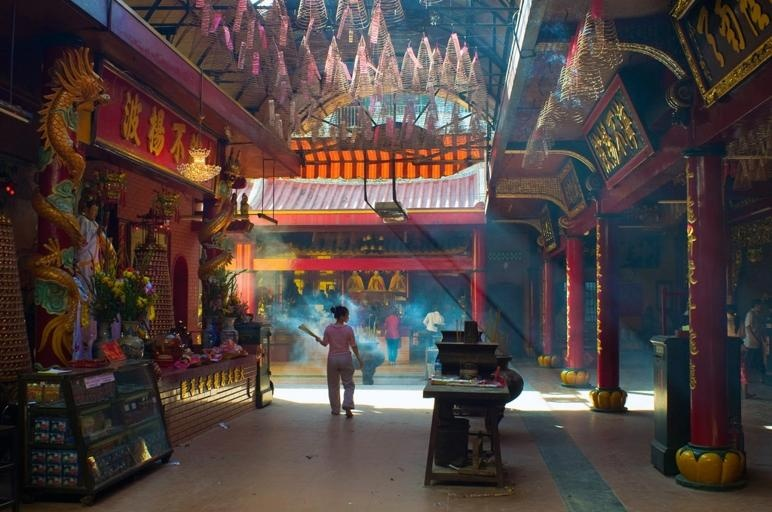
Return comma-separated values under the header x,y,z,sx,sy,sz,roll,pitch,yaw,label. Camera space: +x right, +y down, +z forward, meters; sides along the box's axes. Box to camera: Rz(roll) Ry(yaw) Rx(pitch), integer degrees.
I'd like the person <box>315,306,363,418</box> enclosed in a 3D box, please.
x,y,z,sx,sy,sz,roll,pitch,yaw,label
-0.674,1.521,9.408,0.563,1.579,1.511,1,-1,-2,person

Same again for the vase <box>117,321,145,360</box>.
x,y,z,sx,sy,sz,roll,pitch,yaw,label
-2.776,0.919,6.928,0.229,0.418,0.276,1,0,-24,vase

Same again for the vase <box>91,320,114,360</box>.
x,y,z,sx,sy,sz,roll,pitch,yaw,label
-2.930,0.858,6.548,0.189,0.389,0.407,1,-1,-23,vase

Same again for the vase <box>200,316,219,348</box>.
x,y,z,sx,sy,sz,roll,pitch,yaw,label
-2.589,1.116,9.354,0.238,0.448,0.186,1,0,-7,vase

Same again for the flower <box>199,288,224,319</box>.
x,y,z,sx,sy,sz,roll,pitch,yaw,label
-2.580,0.710,9.440,0.280,0.514,0.287,-5,-26,8,flower

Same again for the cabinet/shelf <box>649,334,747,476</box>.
x,y,z,sx,sy,sz,roll,pitch,yaw,label
3.265,1.544,6.691,0.849,1.490,0.681,1,0,22,cabinet/shelf

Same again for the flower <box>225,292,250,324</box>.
x,y,z,sx,sy,sz,roll,pitch,yaw,label
-2.238,0.824,9.714,0.271,0.388,0.366,-9,14,-8,flower

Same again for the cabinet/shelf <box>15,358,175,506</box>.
x,y,z,sx,sy,sz,roll,pitch,yaw,label
-2.679,1.613,6.004,0.640,1.212,1.235,1,-1,29,cabinet/shelf

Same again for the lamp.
x,y,z,sx,sy,sz,roll,pitch,yaw,label
-2.463,-1.613,8.348,0.490,1.378,1.251,1,-1,-18,lamp

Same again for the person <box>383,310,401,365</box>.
x,y,z,sx,sy,sz,roll,pitch,yaw,label
0.154,2.005,15.142,0.300,1.279,0.984,1,0,5,person

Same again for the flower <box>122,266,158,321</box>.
x,y,z,sx,sy,sz,roll,pitch,yaw,label
-2.718,0.445,6.884,0.254,0.566,0.517,1,-1,-4,flower

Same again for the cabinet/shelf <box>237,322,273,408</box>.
x,y,z,sx,sy,sz,roll,pitch,yaw,label
-1.966,1.662,9.941,0.536,1.325,0.829,1,0,22,cabinet/shelf

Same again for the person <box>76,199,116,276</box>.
x,y,z,sx,sy,sz,roll,pitch,yaw,label
-3.221,-0.183,7.078,0.376,0.868,0.903,1,-1,-23,person

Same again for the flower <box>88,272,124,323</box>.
x,y,z,sx,sy,sz,roll,pitch,yaw,label
-2.920,0.436,6.696,0.341,0.520,0.256,1,0,0,flower

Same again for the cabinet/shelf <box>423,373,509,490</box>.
x,y,z,sx,sy,sz,roll,pitch,yaw,label
0.831,1.741,6.513,0.859,0.929,1.131,-1,-5,6,cabinet/shelf
